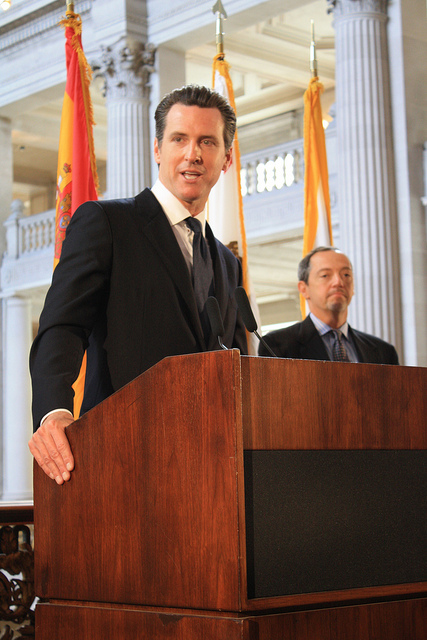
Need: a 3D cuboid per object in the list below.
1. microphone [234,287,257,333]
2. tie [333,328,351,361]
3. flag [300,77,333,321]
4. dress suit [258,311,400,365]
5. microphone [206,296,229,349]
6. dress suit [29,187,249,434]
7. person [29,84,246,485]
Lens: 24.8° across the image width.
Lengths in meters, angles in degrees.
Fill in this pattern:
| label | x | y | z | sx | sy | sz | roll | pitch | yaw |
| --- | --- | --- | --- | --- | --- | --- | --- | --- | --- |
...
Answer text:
| label | x | y | z | sx | sy | sz | roll | pitch | yaw |
| --- | --- | --- | --- | --- | --- | --- | --- | --- | --- |
| microphone | 0.058 | -0.016 | 1.691 | 0.021 | 0.010 | 0.110 | -6 | -41 | 14 |
| tie | 0.471 | 0.091 | 3.587 | 0.063 | 0.144 | 0.195 | -5 | -9 | 7 |
| flag | 0.625 | -0.926 | 5.985 | 0.133 | 1.126 | 0.186 | 19 | 37 | 32 |
| dress suit | 0.431 | 0.067 | 3.646 | 0.497 | 0.251 | 0.400 | -4 | -9 | -2 |
| microphone | 0.010 | 0.007 | 1.577 | 0.022 | 0.093 | 0.004 | -15 | -14 | 18 |
| dress suit | -0.085 | -0.001 | 1.905 | 0.502 | 0.608 | 0.195 | 14 | -23 | -29 |
| person | -0.133 | -0.089 | 1.900 | 0.393 | 0.795 | 0.713 | -4 | -9 | 2 |
